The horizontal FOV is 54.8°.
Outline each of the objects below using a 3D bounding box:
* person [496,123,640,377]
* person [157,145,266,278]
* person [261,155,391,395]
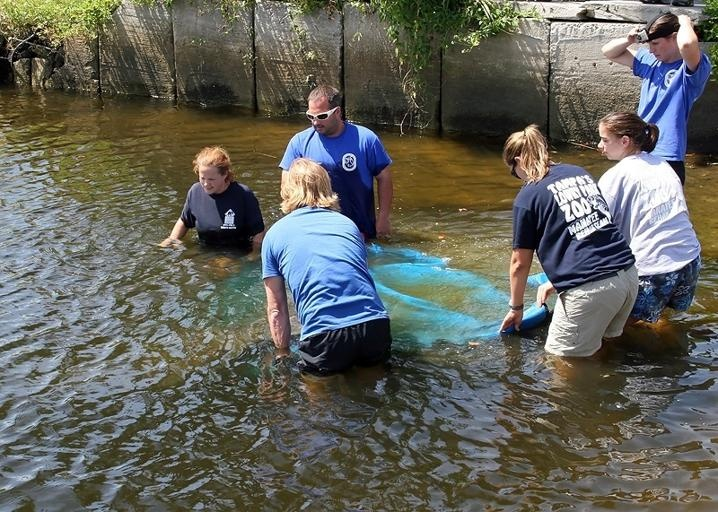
[{"bbox_3d":[1.843,-0.086,6.079,1.205,2.066,0.546,4,20,14],"label":"person"},{"bbox_3d":[-1.627,-0.661,8.146,0.943,1.234,0.375,-1,20,-1],"label":"person"},{"bbox_3d":[-0.282,0.344,6.059,1.114,1.411,0.608,2,20,8],"label":"person"}]
